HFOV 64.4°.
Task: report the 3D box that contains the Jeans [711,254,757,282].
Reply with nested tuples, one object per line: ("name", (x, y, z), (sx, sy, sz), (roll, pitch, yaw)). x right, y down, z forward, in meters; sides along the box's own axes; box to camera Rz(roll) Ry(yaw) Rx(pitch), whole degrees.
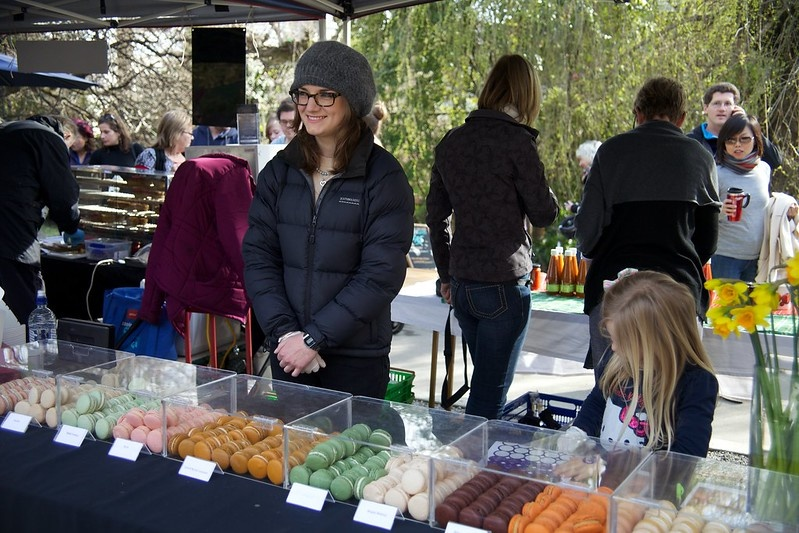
("Jeans", (2.029, 0.005, 3.818), (0.157, 0.242, 0.140), (3, 2, 25))

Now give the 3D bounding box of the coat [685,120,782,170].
("coat", (2.224, -0.822, 4.263), (0.572, 0.247, 0.581), (17, 10, 10))

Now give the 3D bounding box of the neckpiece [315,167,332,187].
("neckpiece", (-0.300, -0.360, 2.556), (0.054, 0.078, 0.018), (1, -21, 9))

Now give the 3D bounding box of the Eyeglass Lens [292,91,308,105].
("Eyeglass Lens", (-0.392, -0.662, 2.486), (0.056, 0.026, 0.060), (5, 5, 21))

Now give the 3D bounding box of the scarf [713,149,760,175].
("scarf", (2.142, -0.657, 4.008), (0.175, 0.096, 0.157), (-3, 4, -18))

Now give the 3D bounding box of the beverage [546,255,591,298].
("beverage", (1.023, 0.044, 3.831), (0.231, 0.235, 0.238), (3, 6, 28))

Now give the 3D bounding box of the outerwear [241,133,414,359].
("outerwear", (-0.298, -0.107, 2.560), (0.682, 0.897, 0.322), (3, 8, -7))

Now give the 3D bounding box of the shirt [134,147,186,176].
("shirt", (-1.911, -0.840, 5.084), (0.361, 0.161, 0.393), (8, -21, -12))

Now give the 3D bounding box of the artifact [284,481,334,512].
("artifact", (-0.275, 0.646, 1.770), (0.095, 0.063, 0.023), (13, -14, 18))

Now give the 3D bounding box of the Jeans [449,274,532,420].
("Jeans", (0.417, 0.413, 3.165), (0.347, 0.962, 0.403), (-12, 19, -30))
